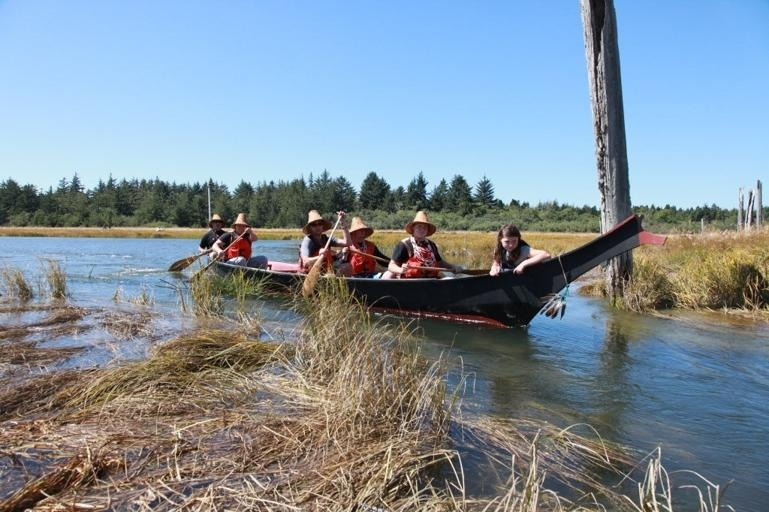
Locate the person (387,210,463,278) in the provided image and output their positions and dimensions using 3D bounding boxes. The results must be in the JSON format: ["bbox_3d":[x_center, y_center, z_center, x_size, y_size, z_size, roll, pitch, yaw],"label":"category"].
[{"bbox_3d":[0.731,0.060,11.612,1.325,1.941,0.936,2,-5,-22],"label":"person"}]

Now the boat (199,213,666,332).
[{"bbox_3d":[1.994,0.283,10.585,5.175,2.100,0.512,3,5,27],"label":"boat"}]

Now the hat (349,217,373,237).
[{"bbox_3d":[-0.536,-0.713,12.929,0.452,0.253,0.484,-4,-32,-4],"label":"hat"}]

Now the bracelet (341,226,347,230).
[{"bbox_3d":[-0.839,-0.598,12.292,0.073,0.087,0.072,-8,21,-38],"label":"bracelet"}]

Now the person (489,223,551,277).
[{"bbox_3d":[2.366,-0.092,10.327,0.877,0.940,0.610,2,4,10],"label":"person"}]

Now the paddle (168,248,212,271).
[{"bbox_3d":[-6.339,0.129,18.771,1.891,0.473,0.147,-28,12,29],"label":"paddle"}]
